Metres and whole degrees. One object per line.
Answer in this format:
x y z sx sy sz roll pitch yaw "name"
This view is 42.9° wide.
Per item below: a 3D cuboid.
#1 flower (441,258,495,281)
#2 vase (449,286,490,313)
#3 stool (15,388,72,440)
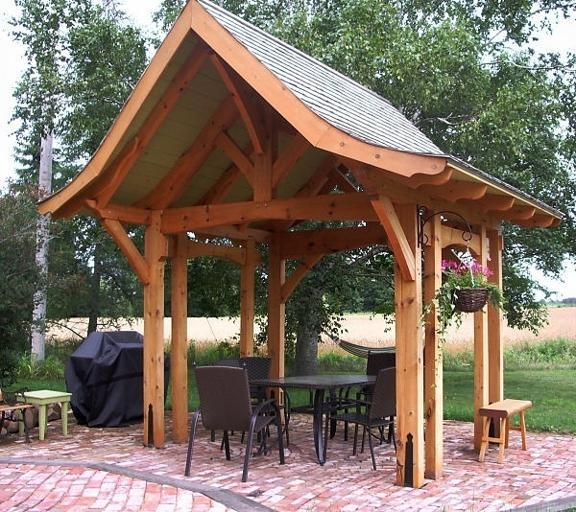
2.023 0.156 8.363 0.465 0.315 0.415 5 -4 5 "flower"
2.002 0.476 8.017 0.537 0.265 0.215 4 -9 -24 "vase"
-3.252 2.141 9.999 0.584 0.558 0.573 1 -1 -20 "stool"
